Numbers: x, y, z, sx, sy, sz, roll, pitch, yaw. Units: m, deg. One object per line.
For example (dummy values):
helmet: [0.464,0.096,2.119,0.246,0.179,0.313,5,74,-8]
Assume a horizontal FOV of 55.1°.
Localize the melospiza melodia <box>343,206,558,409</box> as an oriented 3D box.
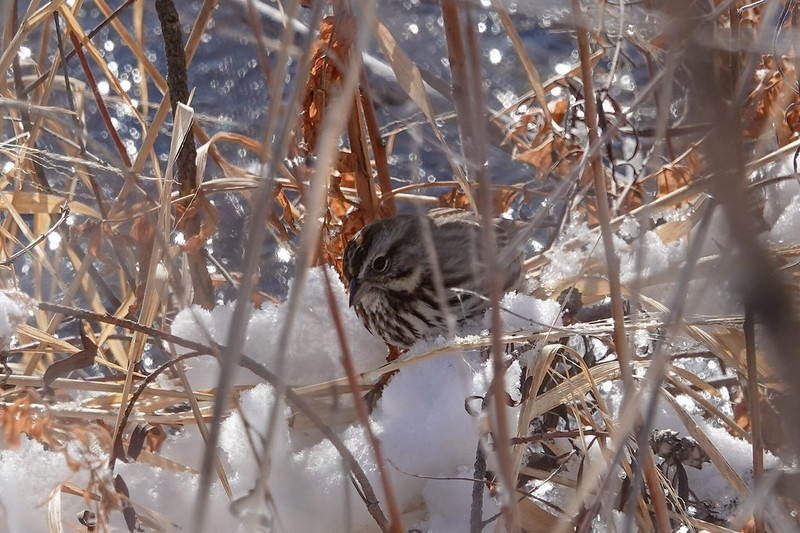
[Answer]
melospiza melodia: [0.085,0.029,2.393,0.740,0.466,0.378,-43,9,-22]
